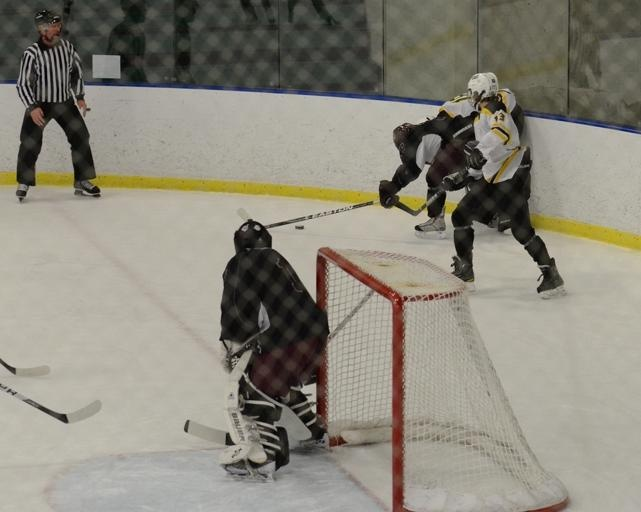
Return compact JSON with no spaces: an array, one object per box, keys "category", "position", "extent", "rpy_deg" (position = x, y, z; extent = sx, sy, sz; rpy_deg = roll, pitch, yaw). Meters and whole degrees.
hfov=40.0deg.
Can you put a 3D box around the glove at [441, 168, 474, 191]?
[{"category":"glove","position":[0.956,-0.486,6.051],"extent":[0.228,0.093,0.167],"rpy_deg":[-21,10,10]}]

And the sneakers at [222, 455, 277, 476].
[{"category":"sneakers","position":[-0.272,0.806,3.413],"extent":[0.146,0.047,0.091],"rpy_deg":[1,3,5]}]

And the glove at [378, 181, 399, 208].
[{"category":"glove","position":[0.465,-0.430,6.014],"extent":[0.131,0.074,0.173],"rpy_deg":[16,51,9]}]

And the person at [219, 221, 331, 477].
[{"category":"person","position":[-0.178,0.358,3.425],"extent":[0.421,0.960,0.349],"rpy_deg":[-1,16,0]}]

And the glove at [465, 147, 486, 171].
[{"category":"glove","position":[0.965,-0.608,5.457],"extent":[0.091,0.144,0.084],"rpy_deg":[-17,-17,40]}]

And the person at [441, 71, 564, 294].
[{"category":"person","position":[1.110,-0.479,5.526],"extent":[0.677,1.360,0.837],"rpy_deg":[3,-2,-44]}]

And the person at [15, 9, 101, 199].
[{"category":"person","position":[-2.342,-1.292,7.665],"extent":[0.696,1.599,0.471],"rpy_deg":[-5,17,-15]}]

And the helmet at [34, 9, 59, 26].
[{"category":"helmet","position":[-2.288,-1.987,7.385],"extent":[0.192,0.099,0.134],"rpy_deg":[2,14,9]}]

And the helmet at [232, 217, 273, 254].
[{"category":"helmet","position":[-0.260,-0.073,3.490],"extent":[0.118,0.123,0.141],"rpy_deg":[4,29,16]}]

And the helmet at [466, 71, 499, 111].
[{"category":"helmet","position":[1.005,-1.029,5.513],"extent":[0.218,0.214,0.171],"rpy_deg":[-3,27,7]}]

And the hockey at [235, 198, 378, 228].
[{"category":"hockey","position":[-0.070,-0.329,6.924],"extent":[1.018,0.047,0.334],"rpy_deg":[-8,7,13]}]

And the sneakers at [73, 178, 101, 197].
[{"category":"sneakers","position":[-2.085,-0.604,7.940],"extent":[0.286,0.128,0.108],"rpy_deg":[2,9,25]}]

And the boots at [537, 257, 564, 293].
[{"category":"boots","position":[1.418,0.127,5.437],"extent":[0.191,0.207,0.120],"rpy_deg":[-5,17,14]}]
